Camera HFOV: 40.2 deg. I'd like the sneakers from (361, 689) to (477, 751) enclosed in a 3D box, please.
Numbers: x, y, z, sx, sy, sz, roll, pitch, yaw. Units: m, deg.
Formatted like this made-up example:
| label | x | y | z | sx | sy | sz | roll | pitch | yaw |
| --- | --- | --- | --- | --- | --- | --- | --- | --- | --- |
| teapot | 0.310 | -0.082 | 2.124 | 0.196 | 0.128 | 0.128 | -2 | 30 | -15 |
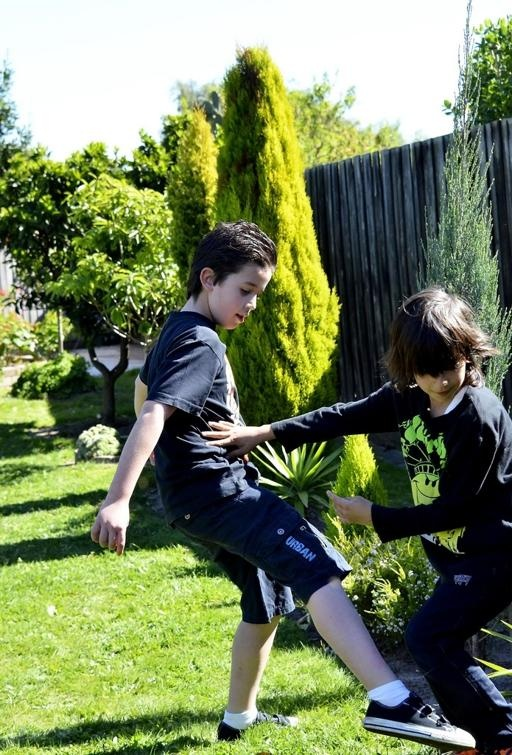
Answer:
| label | x | y | z | sx | sy | sz | roll | pitch | yaw |
| --- | --- | --- | --- | --- | --- | --- | --- | --- | --- |
| sneakers | 0.400 | 0.868 | 1.826 | 0.327 | 0.126 | 0.116 | 14 | 0 | -6 |
